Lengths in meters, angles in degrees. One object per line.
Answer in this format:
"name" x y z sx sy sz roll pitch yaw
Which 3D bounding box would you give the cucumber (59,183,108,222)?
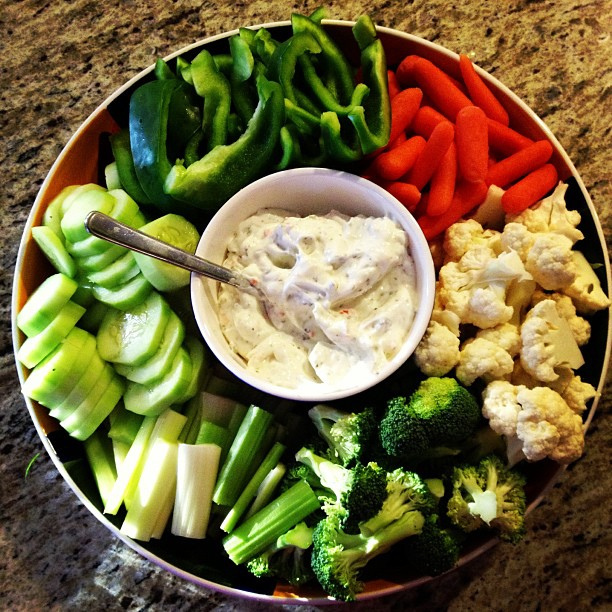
"cucumber" -0.600 -0.287 1.837 0.118 0.028 0.106 -10 50 38

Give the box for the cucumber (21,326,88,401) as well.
"cucumber" -0.658 0.160 1.770 0.089 0.086 0.216 37 85 5

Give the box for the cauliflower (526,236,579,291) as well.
"cauliflower" 0.632 -0.118 1.724 0.136 0.055 0.132 -13 97 22

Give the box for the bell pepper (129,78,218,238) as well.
"bell pepper" -0.369 -0.398 1.870 0.316 0.142 0.387 17 93 10

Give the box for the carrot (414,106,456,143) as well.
"carrot" 0.353 -0.520 1.884 0.143 0.046 0.070 42 105 -3

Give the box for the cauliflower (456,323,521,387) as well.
"cauliflower" 0.507 0.139 1.798 0.132 0.172 0.067 40 36 24

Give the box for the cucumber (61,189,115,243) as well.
"cucumber" -0.548 -0.242 1.803 0.126 0.057 0.167 13 63 41

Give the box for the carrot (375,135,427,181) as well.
"carrot" 0.266 -0.405 1.870 0.080 0.056 0.155 42 82 15

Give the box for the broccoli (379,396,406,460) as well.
"broccoli" 0.204 0.308 1.709 0.038 0.114 0.134 6 99 2

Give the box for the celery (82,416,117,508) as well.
"celery" -0.572 0.460 1.876 0.072 0.057 0.297 -36 35 -11

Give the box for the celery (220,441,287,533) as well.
"celery" -0.144 0.495 1.805 0.055 0.048 0.297 35 84 -3

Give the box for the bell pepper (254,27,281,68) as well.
"bell pepper" -0.107 -0.704 1.833 0.106 0.039 0.099 -5 91 -8

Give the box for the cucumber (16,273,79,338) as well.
"cucumber" -0.684 0.009 1.759 0.048 0.166 0.175 42 54 -16

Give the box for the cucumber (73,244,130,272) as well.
"cucumber" -0.545 -0.123 1.763 0.100 0.022 0.089 -13 30 22

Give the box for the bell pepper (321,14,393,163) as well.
"bell pepper" 0.158 -0.591 1.800 0.188 0.173 0.439 3 59 8

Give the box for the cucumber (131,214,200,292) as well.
"cucumber" -0.361 -0.123 1.787 0.194 0.061 0.201 -41 106 -40

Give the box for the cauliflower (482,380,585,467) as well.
"cauliflower" 0.572 0.308 1.792 0.198 0.238 0.220 -34 54 38

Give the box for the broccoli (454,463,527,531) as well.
"broccoli" 0.478 0.500 1.717 0.164 0.069 0.165 -15 72 -6

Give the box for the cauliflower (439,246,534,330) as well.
"cauliflower" 0.505 -0.053 1.834 0.241 0.115 0.211 27 96 18

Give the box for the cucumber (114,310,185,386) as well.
"cucumber" -0.408 0.135 1.821 0.230 0.073 0.124 -43 85 -5

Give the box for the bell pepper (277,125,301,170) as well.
"bell pepper" -0.038 -0.424 1.757 0.037 0.074 0.095 2 94 3

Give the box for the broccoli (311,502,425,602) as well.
"broccoli" 0.142 0.596 1.718 0.292 0.220 0.126 -23 69 -12

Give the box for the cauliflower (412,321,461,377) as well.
"cauliflower" 0.345 0.120 1.765 0.127 0.065 0.142 9 105 31

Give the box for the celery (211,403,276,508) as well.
"celery" -0.174 0.436 1.845 0.077 0.082 0.286 49 54 -19

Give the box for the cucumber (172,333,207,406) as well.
"cucumber" -0.311 0.182 1.865 0.048 0.183 0.162 14 78 -29

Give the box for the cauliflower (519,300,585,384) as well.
"cauliflower" 0.630 0.100 1.716 0.068 0.201 0.195 -2 51 45

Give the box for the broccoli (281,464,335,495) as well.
"broccoli" -0.005 0.476 1.799 0.103 0.049 0.076 35 89 0

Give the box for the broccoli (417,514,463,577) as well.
"broccoli" 0.335 0.596 1.685 0.123 0.070 0.140 -3 85 10

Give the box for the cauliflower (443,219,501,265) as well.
"cauliflower" 0.462 -0.189 1.845 0.132 0.048 0.120 -10 77 23

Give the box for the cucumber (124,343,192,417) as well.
"cucumber" -0.389 0.210 1.889 0.209 0.052 0.194 -45 44 12

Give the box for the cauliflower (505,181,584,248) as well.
"cauliflower" 0.666 -0.238 1.811 0.196 0.057 0.182 19 79 12

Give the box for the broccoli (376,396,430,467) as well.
"broccoli" 0.242 0.313 1.666 0.134 0.086 0.158 1 96 16

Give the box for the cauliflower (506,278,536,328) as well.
"cauliflower" 0.573 -0.011 1.792 0.089 0.036 0.123 6 111 24

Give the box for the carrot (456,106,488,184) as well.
"carrot" 0.444 -0.433 1.809 0.094 0.075 0.195 -3 102 1

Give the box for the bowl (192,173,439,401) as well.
"bowl" 0.014 -0.048 1.739 0.643 0.253 0.589 0 90 4

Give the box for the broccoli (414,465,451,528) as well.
"broccoli" 0.336 0.500 1.745 0.126 0.053 0.140 1 79 -18

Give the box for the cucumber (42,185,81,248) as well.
"cucumber" -0.668 -0.255 1.797 0.136 0.038 0.130 -43 65 17

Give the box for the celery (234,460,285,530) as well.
"celery" -0.131 0.505 1.869 0.083 0.341 0.075 18 44 -14

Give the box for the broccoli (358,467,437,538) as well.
"broccoli" 0.243 0.510 1.751 0.222 0.159 0.185 -13 63 44

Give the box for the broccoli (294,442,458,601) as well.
"broccoli" 0.175 0.549 1.710 0.433 0.311 0.201 37 47 15

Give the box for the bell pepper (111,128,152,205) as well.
"bell pepper" -0.489 -0.384 1.823 0.046 0.146 0.177 -13 87 -25

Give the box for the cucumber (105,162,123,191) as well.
"cucumber" -0.530 -0.359 1.845 0.042 0.073 0.068 -13 114 -9

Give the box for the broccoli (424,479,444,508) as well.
"broccoli" 0.330 0.496 1.754 0.069 0.020 0.065 6 67 -31

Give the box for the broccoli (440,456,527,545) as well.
"broccoli" 0.469 0.489 1.732 0.235 0.094 0.211 0 81 3

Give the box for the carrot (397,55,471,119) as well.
"carrot" 0.360 -0.651 1.899 0.227 0.072 0.118 40 77 -1

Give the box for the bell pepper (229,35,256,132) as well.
"bell pepper" -0.162 -0.598 1.791 0.078 0.238 0.045 7 42 13

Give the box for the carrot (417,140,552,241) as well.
"carrot" 0.497 -0.323 1.841 0.454 0.081 0.088 -29 114 3

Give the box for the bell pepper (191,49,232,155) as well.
"bell pepper" -0.248 -0.548 1.766 0.095 0.078 0.296 -4 119 -7

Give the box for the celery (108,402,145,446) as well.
"celery" -0.501 0.336 1.865 0.085 0.050 0.124 17 66 1

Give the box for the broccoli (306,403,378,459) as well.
"broccoli" 0.094 0.335 1.803 0.151 0.081 0.127 25 74 27

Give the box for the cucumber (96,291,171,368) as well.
"cucumber" -0.473 0.067 1.850 0.244 0.061 0.223 -2 67 33
